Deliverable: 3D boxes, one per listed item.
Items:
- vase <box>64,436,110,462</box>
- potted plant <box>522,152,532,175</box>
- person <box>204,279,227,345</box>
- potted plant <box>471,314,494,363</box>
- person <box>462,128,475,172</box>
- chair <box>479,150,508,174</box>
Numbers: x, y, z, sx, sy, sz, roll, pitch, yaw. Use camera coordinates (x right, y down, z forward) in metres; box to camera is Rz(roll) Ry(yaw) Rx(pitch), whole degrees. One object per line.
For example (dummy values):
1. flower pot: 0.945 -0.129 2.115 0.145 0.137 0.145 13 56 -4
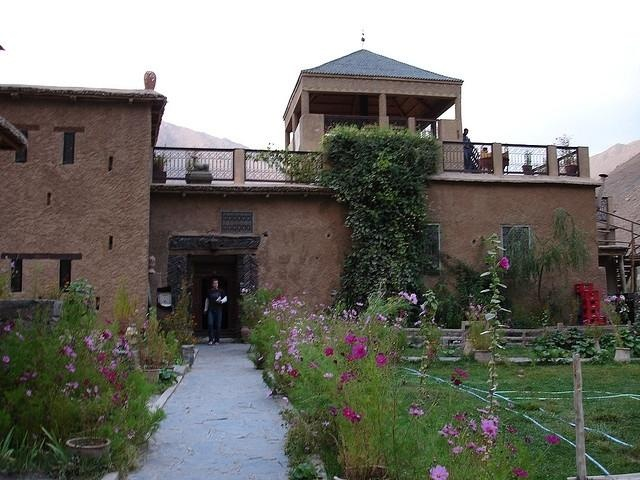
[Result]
1. vase: -2.393 2.145 6.287 0.270 0.107 0.270 -2 -6 -7
2. potted plant: 6.735 -2.468 19.664 0.348 0.769 0.181 0 -1 1
3. person: -2.852 1.959 16.518 0.506 1.759 1.329 1 -1 -11
4. potted plant: 3.479 2.115 13.125 0.363 1.003 0.832 0 -1 -2
5. person: 4.855 -2.921 19.803 0.333 1.528 1.341 0 -2 13
6. chair: 5.620 -2.532 19.523 1.115 0.819 0.429 1 -2 -23
